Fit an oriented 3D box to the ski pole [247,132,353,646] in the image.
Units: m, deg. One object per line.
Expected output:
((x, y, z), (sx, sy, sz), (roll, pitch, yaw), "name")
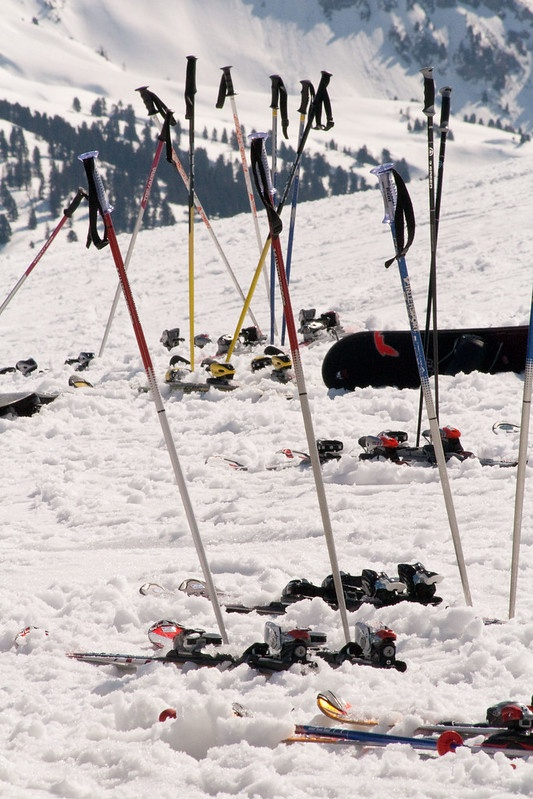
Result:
((0.247, -0.177, 11.840), (0.620, 3.605, 1.739), (-2, 11, 0), "ski pole")

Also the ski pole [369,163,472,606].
((1.077, -0.257, 11.156), (0.405, 2.893, 0.384), (-7, -9, 20), "ski pole")
